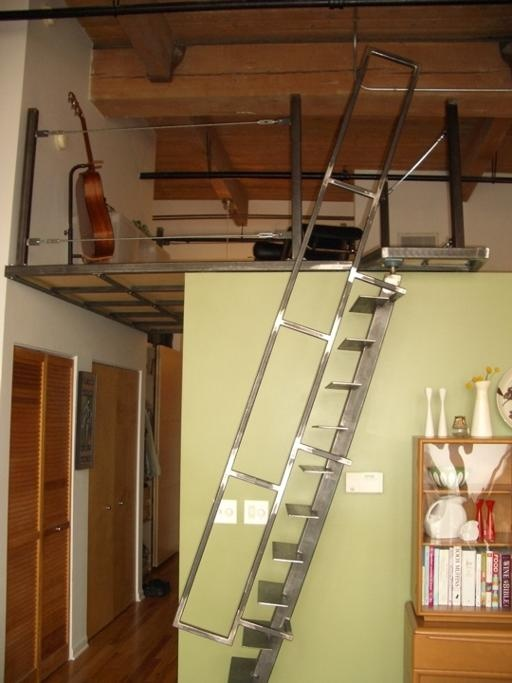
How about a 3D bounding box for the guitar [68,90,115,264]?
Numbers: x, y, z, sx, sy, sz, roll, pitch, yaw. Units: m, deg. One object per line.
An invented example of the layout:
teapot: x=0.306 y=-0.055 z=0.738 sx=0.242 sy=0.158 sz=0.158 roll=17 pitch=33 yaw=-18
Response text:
guitar: x=-1.098 y=-1.107 z=4.770 sx=0.348 sy=0.825 sz=0.801 roll=5 pitch=-3 yaw=-16
